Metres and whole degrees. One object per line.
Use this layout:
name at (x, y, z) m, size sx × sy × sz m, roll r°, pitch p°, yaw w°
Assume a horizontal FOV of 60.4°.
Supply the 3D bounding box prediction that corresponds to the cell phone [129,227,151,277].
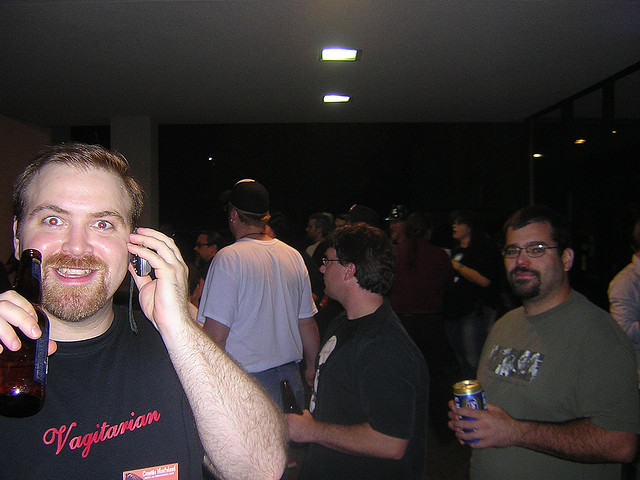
cell phone at (-0.693, 0.049, 2.130) m, size 0.107 × 0.152 × 0.046 m, roll -13°, pitch 7°, yaw 27°

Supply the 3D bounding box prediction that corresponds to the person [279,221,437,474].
person at (0.206, 0.550, 2.713) m, size 0.665 × 1.233 × 0.629 m, roll 4°, pitch 6°, yaw 23°

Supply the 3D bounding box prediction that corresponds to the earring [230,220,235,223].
earring at (-0.570, -0.125, 3.593) m, size 0.005 × 0.016 × 0.041 m, roll -4°, pitch 7°, yaw -44°
